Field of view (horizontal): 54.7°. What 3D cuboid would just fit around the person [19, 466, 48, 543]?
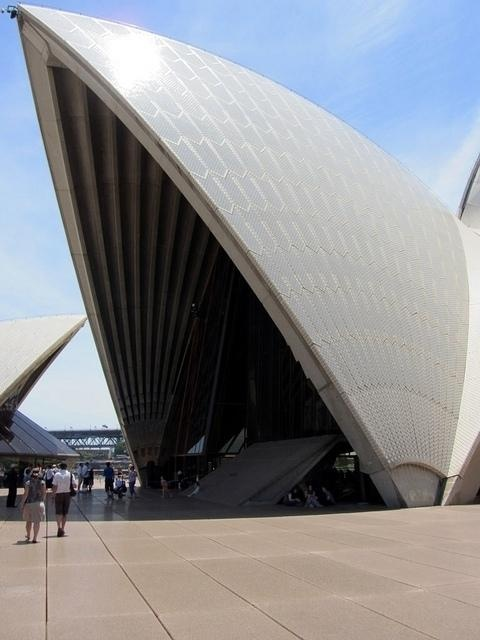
[{"bbox_3d":[-3.290,2.996,7.406,0.336,1.171,1.545,6,-11,-23],"label":"person"}]

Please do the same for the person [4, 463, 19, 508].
[{"bbox_3d":[-6.988,5.165,14.186,0.313,1.081,0.788,7,-11,-28],"label":"person"}]

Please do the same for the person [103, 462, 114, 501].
[{"bbox_3d":[-4.769,5.839,16.848,0.347,1.161,1.451,5,-10,-15],"label":"person"}]

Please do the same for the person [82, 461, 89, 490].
[{"bbox_3d":[-7.001,7.106,21.021,0.285,1.339,1.300,5,-10,-17],"label":"person"}]
